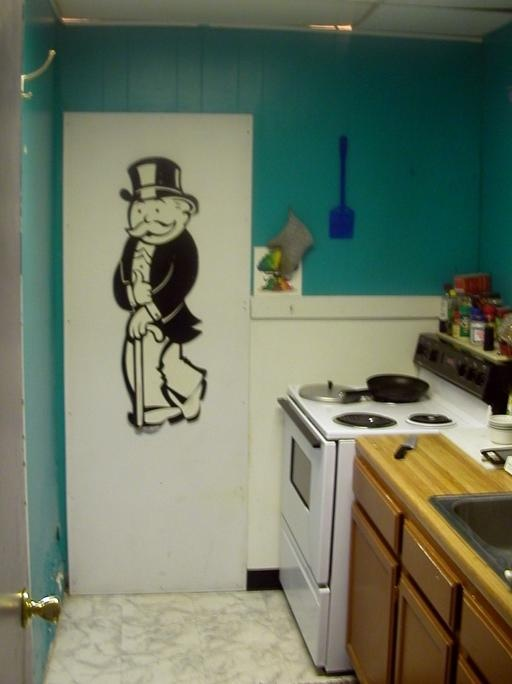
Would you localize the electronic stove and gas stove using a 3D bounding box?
[{"bbox_3d":[0.404,0.170,2.248,0.470,0.171,0.481,-2,12,-8],"label":"electronic stove and gas stove"}]
